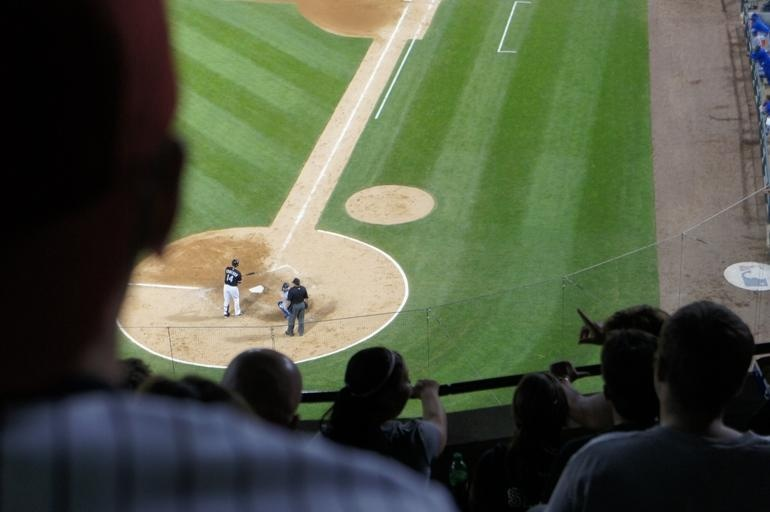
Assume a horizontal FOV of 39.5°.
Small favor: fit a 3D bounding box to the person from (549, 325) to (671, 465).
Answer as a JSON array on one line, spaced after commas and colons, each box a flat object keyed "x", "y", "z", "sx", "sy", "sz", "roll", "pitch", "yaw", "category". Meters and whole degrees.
[{"x": 1.968, "y": 1.237, "z": 9.327, "sx": 1.507, "sy": 1.191, "sz": 0.713, "roll": -4, "pitch": 26, "yaw": -2, "category": "person"}]
